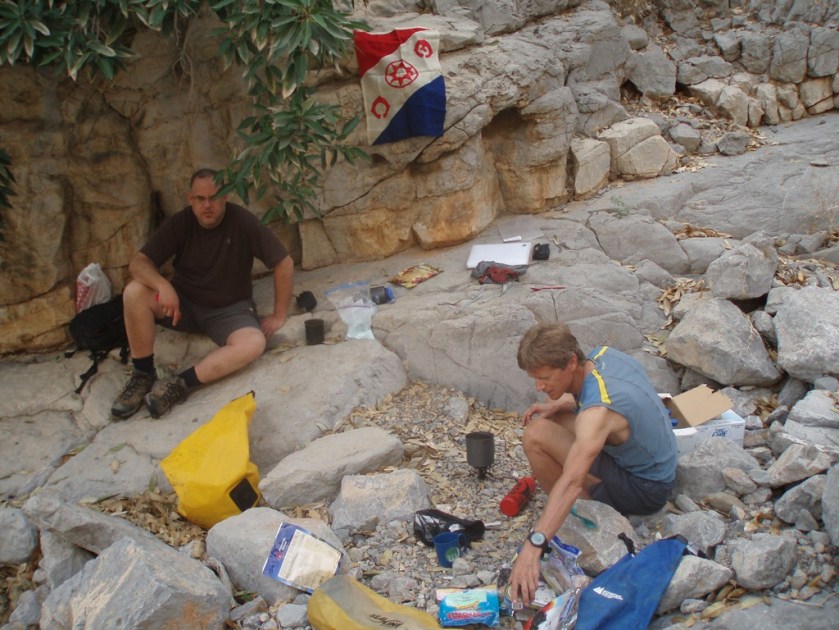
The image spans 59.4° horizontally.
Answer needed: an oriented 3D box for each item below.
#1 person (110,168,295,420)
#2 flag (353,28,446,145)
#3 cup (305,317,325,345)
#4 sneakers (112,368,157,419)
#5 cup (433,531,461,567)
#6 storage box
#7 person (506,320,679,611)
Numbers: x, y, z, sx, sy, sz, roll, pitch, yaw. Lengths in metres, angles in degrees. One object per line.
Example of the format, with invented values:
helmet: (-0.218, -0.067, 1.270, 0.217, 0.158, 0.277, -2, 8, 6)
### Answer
person: (-1.821, -0.257, 6.018, 1.601, 1.686, 0.861, -20, 28, -23)
flag: (-0.199, -2.105, 6.761, 0.960, 1.134, 0.163, -7, 20, -12)
cup: (-0.874, 0.138, 6.460, 0.199, 0.221, 0.200, 3, 24, -1)
sneakers: (-2.281, 0.647, 5.922, 0.176, 0.244, 0.529, 22, 49, 2)
cup: (0.167, 1.409, 4.562, 0.190, 0.206, 0.189, -5, 22, 2)
storage box: (2.006, 0.726, 5.203, 0.477, 0.297, 0.465, -17, 35, -13)
person: (1.074, 0.985, 4.514, 0.721, 0.983, 1.312, -2, 43, 24)
